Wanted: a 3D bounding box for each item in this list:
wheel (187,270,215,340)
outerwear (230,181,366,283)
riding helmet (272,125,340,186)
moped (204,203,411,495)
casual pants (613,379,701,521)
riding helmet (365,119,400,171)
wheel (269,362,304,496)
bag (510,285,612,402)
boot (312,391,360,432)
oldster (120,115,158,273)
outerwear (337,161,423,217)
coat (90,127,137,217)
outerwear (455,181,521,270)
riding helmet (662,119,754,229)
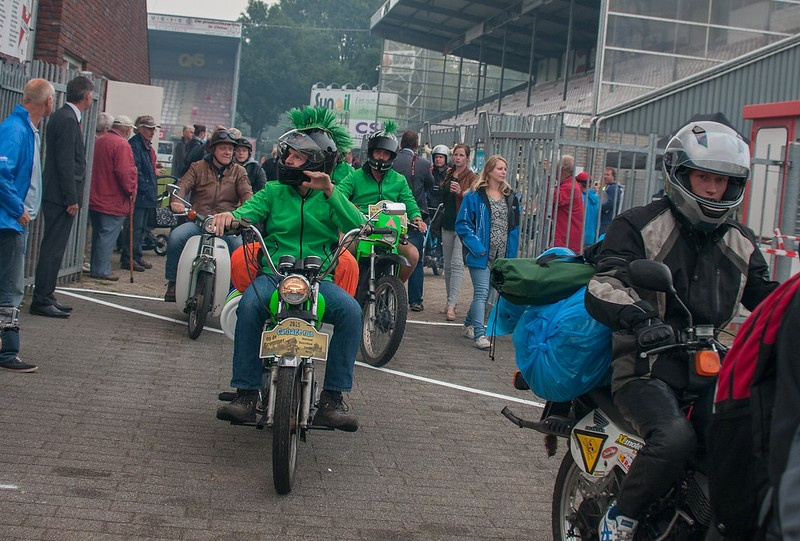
[{"bbox_3d":[-2.434,0.378,9.221,0.102,0.622,0.648,10,-25,-15],"label":"wheel"},{"bbox_3d":[-0.841,-0.318,6.344,1.015,0.961,0.667,4,-2,-5],"label":"outerwear"},{"bbox_3d":[-0.752,-0.934,6.068,0.462,0.428,0.391,2,9,-20],"label":"riding helmet"},{"bbox_3d":[-0.756,0.510,6.591,1.439,1.859,2.713,8,1,-1],"label":"moped"},{"bbox_3d":[1.333,0.965,4.061,0.423,0.704,0.285,8,9,18],"label":"casual pants"},{"bbox_3d":[-0.231,-1.599,9.535,0.370,0.661,0.864,5,9,-1],"label":"riding helmet"},{"bbox_3d":[-0.829,1.155,5.457,0.203,0.918,0.472,4,8,-7],"label":"wheel"},{"bbox_3d":[0.952,0.449,4.665,0.536,0.711,0.386,10,14,38],"label":"bag"},{"bbox_3d":[-0.445,1.117,5.963,0.184,0.336,0.504,12,-16,-41],"label":"boot"},{"bbox_3d":[-4.803,-1.437,13.972,0.554,2.847,0.931,5,13,-7],"label":"oldster"},{"bbox_3d":[-0.317,-0.963,9.449,1.159,0.919,0.774,2,-13,-8],"label":"outerwear"},{"bbox_3d":[-4.622,-1.558,12.264,0.694,1.295,0.443,4,8,-10],"label":"coat"},{"bbox_3d":[1.245,-0.638,10.525,0.861,1.151,0.551,-1,8,-20],"label":"outerwear"},{"bbox_3d":[1.781,-0.573,4.603,0.478,0.596,0.595,9,3,-1],"label":"riding helmet"}]
